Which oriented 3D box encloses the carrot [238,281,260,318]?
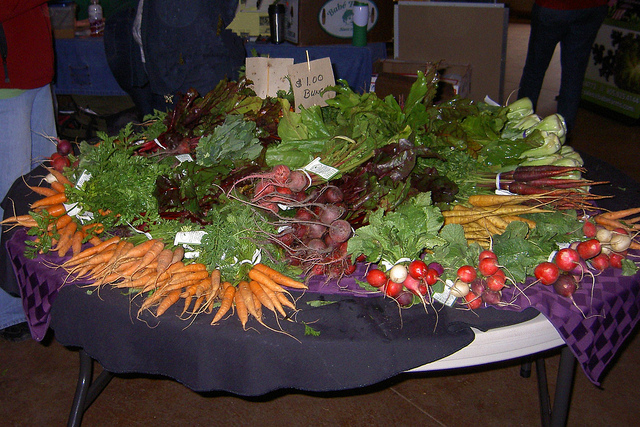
[{"bbox_3d":[-0.358,0.414,2.527,0.056,0.055,0.259,-6,37,-16],"label":"carrot"}]

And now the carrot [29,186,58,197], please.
[{"bbox_3d":[-1.678,-0.135,3.014,0.164,0.037,0.040,8,69,12],"label":"carrot"}]

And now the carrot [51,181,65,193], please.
[{"bbox_3d":[-1.560,-0.160,2.965,0.071,0.031,0.032,40,39,-1],"label":"carrot"}]

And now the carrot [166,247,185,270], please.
[{"bbox_3d":[-0.785,0.235,2.688,0.030,0.033,0.118,14,47,13],"label":"carrot"}]

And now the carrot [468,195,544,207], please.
[{"bbox_3d":[1.084,-0.060,2.895,0.366,0.078,0.073,-1,-9,31],"label":"carrot"}]

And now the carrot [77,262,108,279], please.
[{"bbox_3d":[-1.213,0.300,2.639,0.106,0.025,0.019,-37,82,-22],"label":"carrot"}]

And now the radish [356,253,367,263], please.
[{"bbox_3d":[0.222,0.236,2.686,0.041,0.032,0.041,-7,11,-34],"label":"radish"}]

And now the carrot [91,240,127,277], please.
[{"bbox_3d":[-1.125,0.220,2.702,0.036,0.036,0.173,-30,20,52],"label":"carrot"}]

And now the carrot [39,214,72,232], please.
[{"bbox_3d":[-1.486,0.035,2.812,0.042,0.046,0.174,22,45,38],"label":"carrot"}]

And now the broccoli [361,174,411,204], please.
[{"bbox_3d":[0.385,-0.150,2.742,0.203,0.145,0.054,11,-14,1],"label":"broccoli"}]

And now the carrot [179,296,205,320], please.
[{"bbox_3d":[-0.629,0.464,2.466,0.027,0.021,0.106,34,59,-5],"label":"carrot"}]

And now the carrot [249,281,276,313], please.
[{"bbox_3d":[-0.304,0.411,2.603,0.056,0.061,0.231,-6,41,-41],"label":"carrot"}]

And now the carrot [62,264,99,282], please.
[{"bbox_3d":[-1.268,0.288,2.633,0.168,0.035,0.029,-42,38,-22],"label":"carrot"}]

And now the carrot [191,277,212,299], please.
[{"bbox_3d":[-0.609,0.382,2.579,0.045,0.040,0.150,10,23,5],"label":"carrot"}]

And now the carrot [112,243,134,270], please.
[{"bbox_3d":[-1.060,0.224,2.684,0.038,0.042,0.164,27,58,-10],"label":"carrot"}]

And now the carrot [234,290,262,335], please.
[{"bbox_3d":[-0.388,0.468,2.539,0.062,0.072,0.349,-9,53,-23],"label":"carrot"}]

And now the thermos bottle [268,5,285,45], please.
[{"bbox_3d":[-0.486,-2.112,5.574,0.168,0.402,0.175,3,26,-1],"label":"thermos bottle"}]

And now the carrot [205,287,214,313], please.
[{"bbox_3d":[-0.560,0.424,2.552,0.039,0.156,0.032,-13,-24,38],"label":"carrot"}]

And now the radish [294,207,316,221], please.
[{"bbox_3d":[-0.088,-0.003,2.704,0.084,0.050,0.066,3,10,8],"label":"radish"}]

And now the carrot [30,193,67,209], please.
[{"bbox_3d":[-1.588,-0.075,2.916,0.166,0.046,0.041,-15,67,-4],"label":"carrot"}]

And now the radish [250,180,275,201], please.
[{"bbox_3d":[-0.307,-0.132,2.733,0.137,0.044,0.078,-44,21,-6],"label":"radish"}]

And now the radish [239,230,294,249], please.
[{"bbox_3d":[-0.262,0.138,2.667,0.381,0.102,0.095,-3,-3,-6],"label":"radish"}]

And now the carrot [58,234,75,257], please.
[{"bbox_3d":[-1.405,0.167,2.797,0.043,0.041,0.153,-1,48,55],"label":"carrot"}]

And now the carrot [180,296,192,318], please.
[{"bbox_3d":[-0.681,0.464,2.529,0.017,0.018,0.078,19,70,17],"label":"carrot"}]

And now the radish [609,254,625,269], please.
[{"bbox_3d":[1.550,0.240,2.623,0.071,0.071,0.071,-32,21,-27],"label":"radish"}]

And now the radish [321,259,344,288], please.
[{"bbox_3d":[0.066,0.308,2.619,0.046,0.043,0.156,28,63,31],"label":"radish"}]

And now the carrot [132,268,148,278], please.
[{"bbox_3d":[-0.963,0.317,2.673,0.088,0.019,0.024,-32,42,-6],"label":"carrot"}]

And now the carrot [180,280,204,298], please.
[{"bbox_3d":[-0.674,0.397,2.576,0.044,0.047,0.148,40,48,8],"label":"carrot"}]

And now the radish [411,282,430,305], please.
[{"bbox_3d":[0.503,0.400,2.504,0.045,0.081,0.063,-37,-8,1],"label":"radish"}]

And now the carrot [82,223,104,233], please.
[{"bbox_3d":[-1.276,0.075,2.803,0.115,0.054,0.054,-1,1,0],"label":"carrot"}]

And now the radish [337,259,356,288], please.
[{"bbox_3d":[0.148,0.311,2.642,0.067,0.061,0.149,14,75,25],"label":"radish"}]

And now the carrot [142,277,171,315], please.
[{"bbox_3d":[-0.844,0.416,2.537,0.227,0.060,0.024,-45,25,-25],"label":"carrot"}]

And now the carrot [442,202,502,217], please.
[{"bbox_3d":[0.881,-0.023,2.872,0.326,0.058,0.055,-5,5,18],"label":"carrot"}]

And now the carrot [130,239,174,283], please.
[{"bbox_3d":[-0.908,0.247,2.717,0.146,0.156,0.159,-13,22,-40],"label":"carrot"}]

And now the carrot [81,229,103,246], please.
[{"bbox_3d":[-1.270,0.151,2.818,0.156,0.047,0.047,34,56,-6],"label":"carrot"}]

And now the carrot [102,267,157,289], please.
[{"bbox_3d":[-0.976,0.342,2.627,0.187,0.048,0.041,-15,-3,-14],"label":"carrot"}]

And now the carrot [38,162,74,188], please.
[{"bbox_3d":[-1.598,-0.231,3.018,0.269,0.047,0.046,37,7,11],"label":"carrot"}]

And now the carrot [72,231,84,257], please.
[{"bbox_3d":[-1.342,0.165,2.759,0.042,0.044,0.136,-2,54,-14],"label":"carrot"}]

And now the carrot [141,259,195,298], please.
[{"bbox_3d":[-0.807,0.342,2.604,0.273,0.046,0.040,-38,41,-27],"label":"carrot"}]

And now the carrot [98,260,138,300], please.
[{"bbox_3d":[-1.065,0.353,2.608,0.160,0.154,0.173,-1,17,-4],"label":"carrot"}]

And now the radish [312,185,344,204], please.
[{"bbox_3d":[0.056,-0.096,2.745,0.127,0.088,0.061,-23,-11,-5],"label":"radish"}]

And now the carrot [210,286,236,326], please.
[{"bbox_3d":[-0.490,0.455,2.568,0.099,0.095,0.397,19,15,-12],"label":"carrot"}]

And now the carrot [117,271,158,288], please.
[{"bbox_3d":[-0.957,0.343,2.609,0.228,0.048,0.046,-9,-15,-21],"label":"carrot"}]
